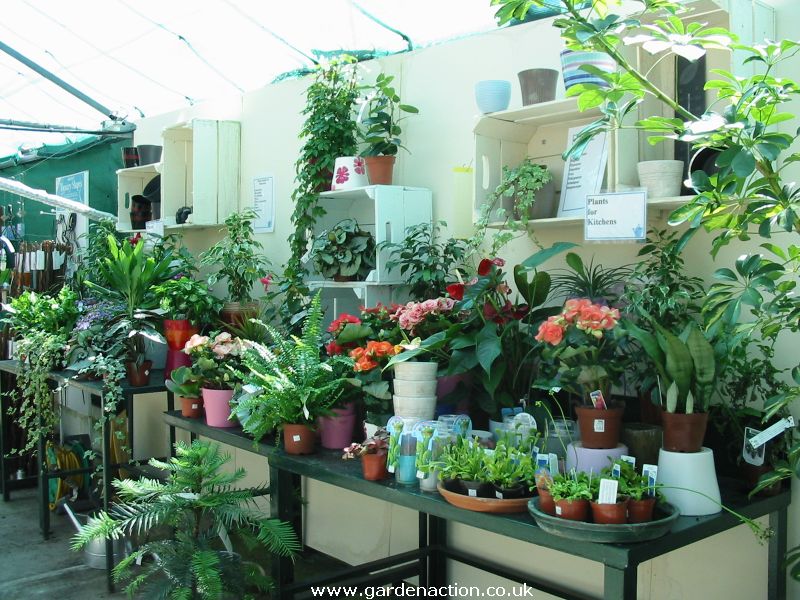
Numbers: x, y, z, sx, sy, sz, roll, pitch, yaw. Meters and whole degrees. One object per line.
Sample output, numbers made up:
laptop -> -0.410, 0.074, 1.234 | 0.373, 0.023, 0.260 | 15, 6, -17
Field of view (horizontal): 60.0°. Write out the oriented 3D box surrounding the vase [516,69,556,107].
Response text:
vase -> 0.606, -0.916, 3.016 | 0.189, 0.141, 0.176 | 3, 8, 35

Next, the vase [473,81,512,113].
vase -> 0.410, -0.895, 3.058 | 0.150, 0.188, 0.142 | -1, -1, 6

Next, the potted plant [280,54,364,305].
potted plant -> -0.446, -0.698, 3.975 | 0.409, 1.414, 0.601 | 1, -1, -44

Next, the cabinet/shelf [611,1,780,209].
cabinet/shelf -> 1.111, -0.736, 2.621 | 0.502, 0.743, 0.355 | -1, -1, 37

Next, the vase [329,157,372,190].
vase -> -0.260, -0.672, 3.691 | 0.180, 0.143, 0.176 | -4, 8, -24

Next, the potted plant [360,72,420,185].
potted plant -> -0.094, -0.906, 3.795 | 0.296, 0.634, 0.460 | 0, -1, -33

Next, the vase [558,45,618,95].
vase -> 0.749, -0.901, 2.787 | 0.192, 0.147, 0.204 | 5, 9, 36

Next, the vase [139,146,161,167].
vase -> -1.867, -1.067, 5.220 | 0.153, 0.118, 0.160 | 1, 3, -22

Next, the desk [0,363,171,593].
desk -> -1.950, 1.104, 4.327 | 0.438, 0.933, 1.274 | 3, -5, -40

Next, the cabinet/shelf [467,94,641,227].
cabinet/shelf -> 0.680, -0.405, 3.002 | 0.463, 0.613, 0.866 | 0, 0, -39

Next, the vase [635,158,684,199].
vase -> 1.008, -0.457, 2.671 | 0.183, 0.135, 0.181 | 0, 1, -28
